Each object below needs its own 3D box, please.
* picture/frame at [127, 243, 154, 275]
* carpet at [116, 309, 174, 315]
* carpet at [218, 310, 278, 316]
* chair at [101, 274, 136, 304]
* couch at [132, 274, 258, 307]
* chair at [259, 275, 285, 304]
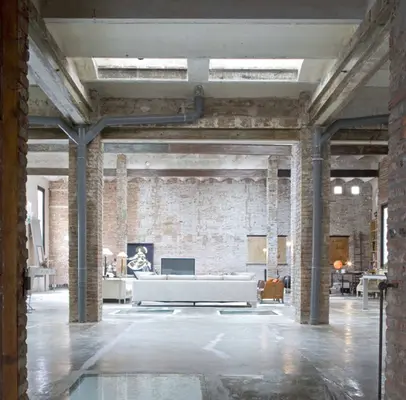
[{"bbox_3d":[-2.458,2.294,19.372,0.968,1.472,0.087,0,28,-10],"label":"picture/frame"},{"bbox_3d":[-1.263,2.452,11.075,1.280,0.062,1.184,1,-5,-10],"label":"carpet"},{"bbox_3d":[0.960,2.422,10.773,1.205,0.043,0.950,0,-5,7],"label":"carpet"},{"bbox_3d":[-2.271,2.378,13.270,0.698,0.642,1.062,1,-5,-2],"label":"chair"},{"bbox_3d":[-0.206,2.261,12.549,3.024,0.766,1.144,0,-5,3],"label":"couch"},{"bbox_3d":[1.833,2.454,13.686,0.657,0.832,0.612,1,-10,0],"label":"chair"}]
